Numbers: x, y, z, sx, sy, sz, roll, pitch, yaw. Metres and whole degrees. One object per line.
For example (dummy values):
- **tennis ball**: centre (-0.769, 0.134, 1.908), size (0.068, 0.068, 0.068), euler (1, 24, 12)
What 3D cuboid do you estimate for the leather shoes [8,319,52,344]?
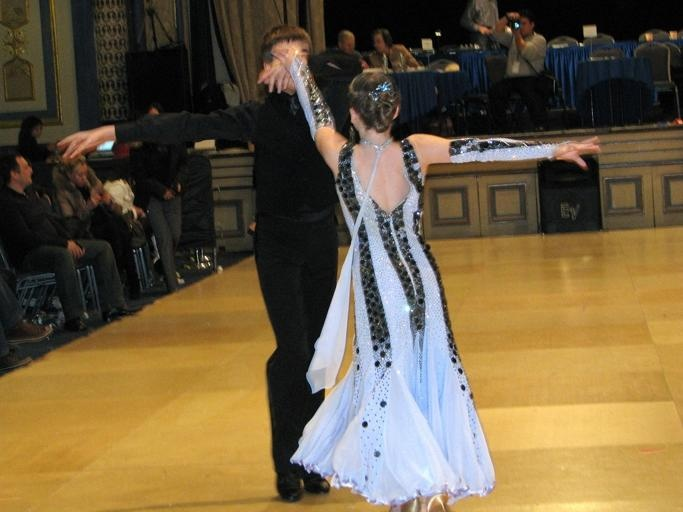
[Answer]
- **leather shoes**: centre (-2.483, 0.592, 5.279), size (0.284, 0.234, 0.129), euler (-7, 14, -22)

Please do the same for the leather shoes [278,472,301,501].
- **leather shoes**: centre (-0.211, 0.969, 2.769), size (0.061, 0.119, 0.114), euler (0, 49, 0)

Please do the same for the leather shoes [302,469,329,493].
- **leather shoes**: centre (-0.110, 0.953, 2.819), size (0.065, 0.071, 0.151), euler (2, -9, -23)

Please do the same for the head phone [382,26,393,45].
- **head phone**: centre (0.697, -3.398, 10.320), size (0.115, 0.250, 0.577), euler (-1, 10, 10)

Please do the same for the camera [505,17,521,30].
- **camera**: centre (2.536, -3.379, 9.635), size (0.140, 0.175, 0.260), euler (-1, 10, 13)

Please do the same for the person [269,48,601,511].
- **person**: centre (0.181, 0.105, 2.441), size (0.941, 1.869, 0.598), euler (0, 9, 17)
